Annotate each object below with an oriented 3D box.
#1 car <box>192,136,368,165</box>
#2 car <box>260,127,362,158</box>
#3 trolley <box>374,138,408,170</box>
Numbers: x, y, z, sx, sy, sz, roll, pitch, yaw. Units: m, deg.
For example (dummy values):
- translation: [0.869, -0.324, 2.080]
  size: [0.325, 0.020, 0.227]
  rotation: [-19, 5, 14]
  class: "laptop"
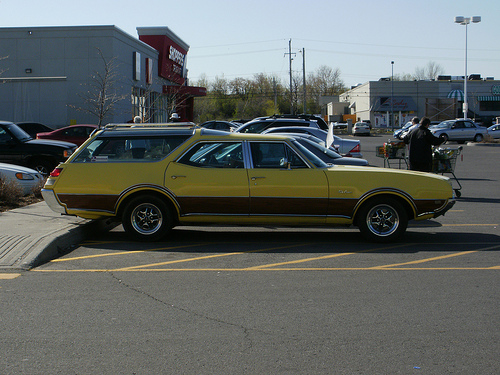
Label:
- translation: [1.083, -0.882, 12.377]
  size: [3.591, 0.966, 1.413]
  rotation: [4, 8, 5]
  class: "car"
- translation: [2.130, -1.698, 17.008]
  size: [3.393, 0.923, 1.307]
  rotation: [4, 7, 7]
  class: "car"
- translation: [4.397, -1.062, 15.531]
  size: [0.710, 0.749, 0.875]
  rotation: [-4, 1, -2]
  class: "trolley"
